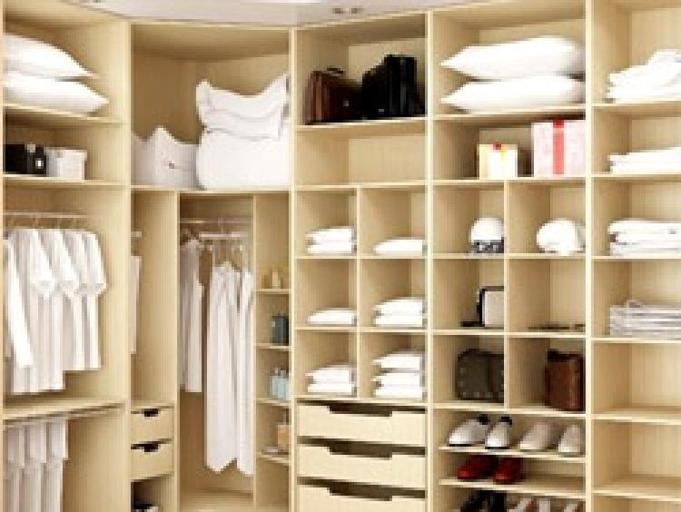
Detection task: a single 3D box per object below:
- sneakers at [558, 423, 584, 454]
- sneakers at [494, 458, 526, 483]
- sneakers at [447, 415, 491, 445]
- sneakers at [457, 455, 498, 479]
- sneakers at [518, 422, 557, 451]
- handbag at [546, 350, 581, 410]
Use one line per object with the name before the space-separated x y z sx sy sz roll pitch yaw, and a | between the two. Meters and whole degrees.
sneakers | 1.296 1.030 4.045 0.140 0.178 0.134 0 -9 8
sneakers | 0.990 1.251 4.234 0.155 0.121 0.264 -1 1 17
sneakers | 0.778 1.046 4.314 0.106 0.107 0.298 -5 -7 44
sneakers | 0.810 1.241 4.247 0.099 0.118 0.302 -7 -9 44
sneakers | 1.148 1.036 4.149 0.097 0.122 0.331 -3 -5 35
handbag | 1.262 0.712 4.055 0.212 0.291 0.090 -1 1 15
